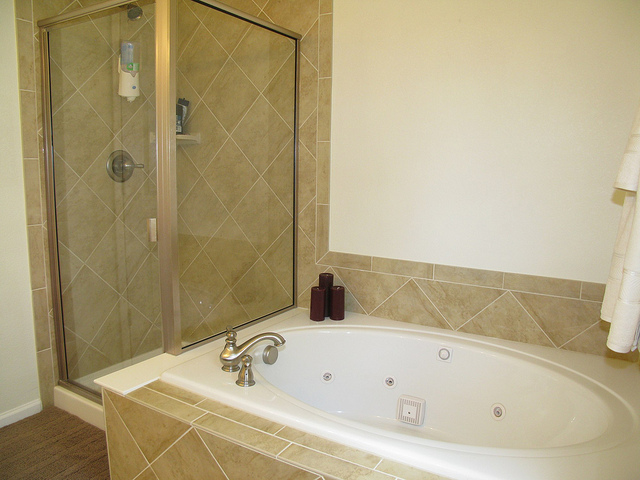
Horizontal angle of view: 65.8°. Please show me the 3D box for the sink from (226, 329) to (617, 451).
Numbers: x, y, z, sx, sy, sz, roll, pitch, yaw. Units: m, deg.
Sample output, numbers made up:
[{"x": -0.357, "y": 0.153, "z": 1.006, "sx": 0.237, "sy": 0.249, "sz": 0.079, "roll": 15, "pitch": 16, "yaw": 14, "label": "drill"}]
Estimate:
[{"x": 0.515, "y": 0.784, "z": 2.484, "sx": 1.604, "sy": 0.479, "sz": 0.423, "roll": 7, "pitch": 9, "yaw": 18, "label": "sink"}]
